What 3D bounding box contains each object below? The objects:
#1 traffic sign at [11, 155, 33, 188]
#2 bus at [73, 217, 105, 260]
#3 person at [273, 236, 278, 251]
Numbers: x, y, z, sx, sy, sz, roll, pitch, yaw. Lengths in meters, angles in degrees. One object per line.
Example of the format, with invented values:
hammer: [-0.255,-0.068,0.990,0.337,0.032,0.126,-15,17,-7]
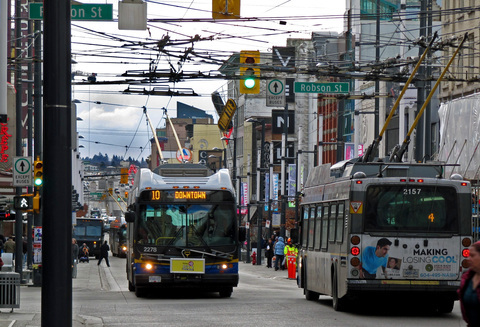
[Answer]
traffic sign: [-8.071,0.258,32.520,0.681,1.081,0.757,0,1,-14]
bus: [-12.561,5.924,71.780,2.499,2.388,4.394,1,-6,-4]
person: [2.360,5.217,57.320,0.261,0.769,0.576,8,-1,7]
